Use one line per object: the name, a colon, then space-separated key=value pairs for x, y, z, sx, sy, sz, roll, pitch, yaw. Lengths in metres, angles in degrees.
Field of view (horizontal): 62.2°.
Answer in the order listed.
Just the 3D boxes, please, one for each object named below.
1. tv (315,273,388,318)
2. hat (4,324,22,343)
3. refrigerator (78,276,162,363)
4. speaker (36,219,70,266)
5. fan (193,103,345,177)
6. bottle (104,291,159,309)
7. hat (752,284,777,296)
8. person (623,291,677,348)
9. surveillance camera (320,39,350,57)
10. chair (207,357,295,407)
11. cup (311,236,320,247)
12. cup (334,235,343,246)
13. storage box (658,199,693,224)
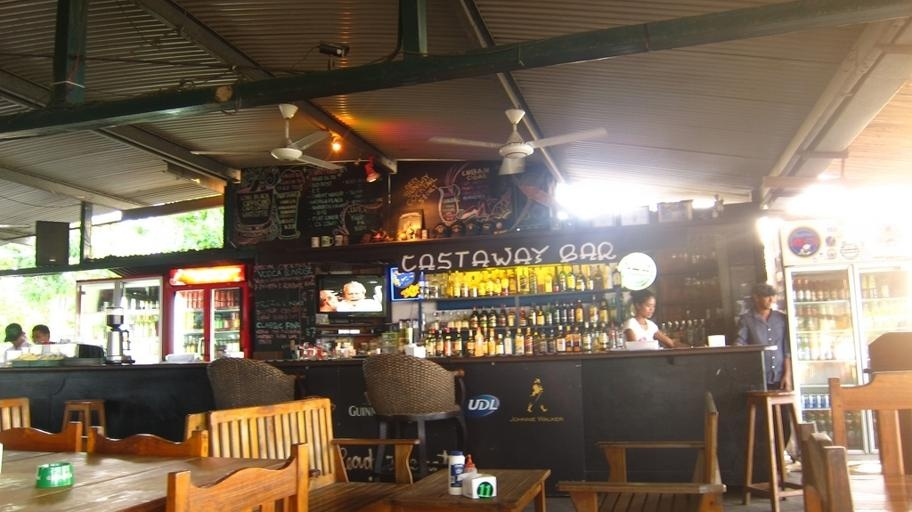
tv: x=-1.741 y=0.723 z=12.961 sx=1.032 sy=0.470 sz=0.120 roll=0 pitch=-5 yaw=5
hat: x=-7.398 y=1.314 z=12.703 sx=0.249 sy=0.333 sz=0.594 roll=2 pitch=-9 yaw=-29
refrigerator: x=-6.112 y=1.183 z=13.887 sx=2.226 sy=1.504 sz=1.080 roll=0 pitch=0 yaw=11
speaker: x=-7.730 y=-0.235 z=14.517 sx=0.565 sy=0.898 sz=0.374 roll=2 pitch=-11 yaw=-29
fan: x=-3.037 y=-1.667 z=11.969 sx=2.220 sy=0.831 sz=3.337 roll=0 pitch=-8 yaw=-16
bottle: x=-6.237 y=0.885 z=14.844 sx=1.066 sy=0.394 sz=0.215 roll=3 pitch=1 yaw=-8
hat: x=4.422 y=0.507 z=10.875 sx=0.299 sy=0.196 sz=0.191 roll=-3 pitch=-9 yaw=1
person: x=2.847 y=0.927 z=11.134 sx=0.578 sy=0.871 sz=0.977 roll=-8 pitch=-10 yaw=24
surveillance camera: x=-1.560 y=-2.670 z=9.706 sx=0.391 sy=0.106 sz=0.213 roll=5 pitch=11 yaw=13
chair: x=-2.661 y=1.670 z=9.887 sx=1.077 sy=0.491 sz=0.751 roll=0 pitch=-10 yaw=-1
cup: x=-2.476 y=-0.218 z=13.298 sx=0.213 sy=0.180 sz=0.188 roll=-3 pitch=-8 yaw=15
cup: x=-2.029 y=-0.254 z=13.221 sx=0.174 sy=0.212 sz=0.213 roll=-2 pitch=-9 yaw=-9
storage box: x=3.498 y=-0.683 z=12.129 sx=0.778 sy=0.316 sz=0.462 roll=2 pitch=-4 yaw=16
